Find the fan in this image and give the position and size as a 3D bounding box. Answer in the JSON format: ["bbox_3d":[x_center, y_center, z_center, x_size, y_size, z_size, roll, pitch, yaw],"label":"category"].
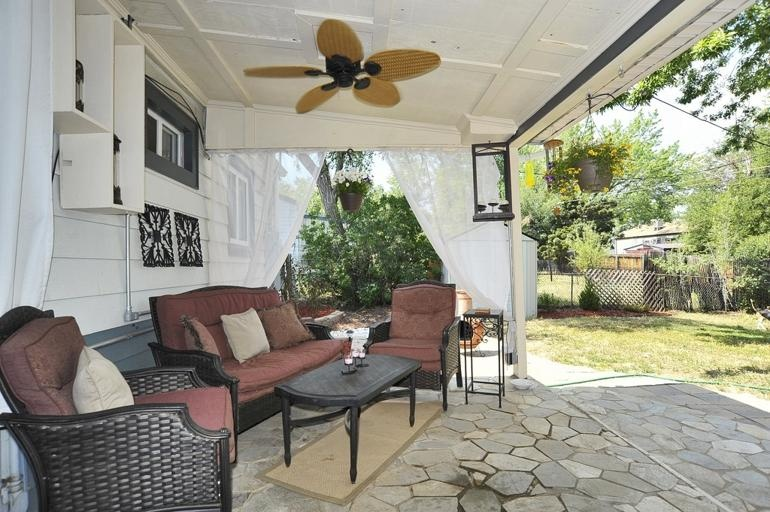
[{"bbox_3d":[-0.297,-1.619,4.348,1.509,0.571,1.035,1,11,4],"label":"fan"}]

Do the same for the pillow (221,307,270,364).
[{"bbox_3d":[-1.464,0.843,5.328,0.389,0.481,0.457,8,6,39],"label":"pillow"}]

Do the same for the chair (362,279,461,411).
[{"bbox_3d":[0.443,1.041,6.186,1.239,1.334,1.238,0,-1,16],"label":"chair"}]

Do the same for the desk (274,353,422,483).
[{"bbox_3d":[-0.322,1.435,4.784,0.778,0.825,1.301,7,12,29],"label":"desk"}]

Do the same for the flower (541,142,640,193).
[{"bbox_3d":[2.335,-0.983,5.826,1.039,0.691,0.896,1,-4,13],"label":"flower"}]

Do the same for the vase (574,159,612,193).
[{"bbox_3d":[2.291,-0.870,5.520,0.377,0.288,0.371,1,-4,5],"label":"vase"}]

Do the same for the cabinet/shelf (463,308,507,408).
[{"bbox_3d":[1.271,1.325,6.654,0.638,1.232,0.646,-1,-2,16],"label":"cabinet/shelf"}]

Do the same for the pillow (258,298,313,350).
[{"bbox_3d":[-1.157,0.767,5.790,0.150,0.481,0.508,-39,-17,30],"label":"pillow"}]

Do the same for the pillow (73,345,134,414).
[{"bbox_3d":[-1.990,0.877,3.596,0.359,0.419,0.474,4,1,-16],"label":"pillow"}]

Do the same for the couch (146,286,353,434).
[{"bbox_3d":[-1.429,0.925,5.310,1.604,1.411,2.237,-1,-2,32],"label":"couch"}]

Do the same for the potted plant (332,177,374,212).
[{"bbox_3d":[-0.417,-0.840,6.821,0.350,0.388,0.395,-9,6,-43],"label":"potted plant"}]
